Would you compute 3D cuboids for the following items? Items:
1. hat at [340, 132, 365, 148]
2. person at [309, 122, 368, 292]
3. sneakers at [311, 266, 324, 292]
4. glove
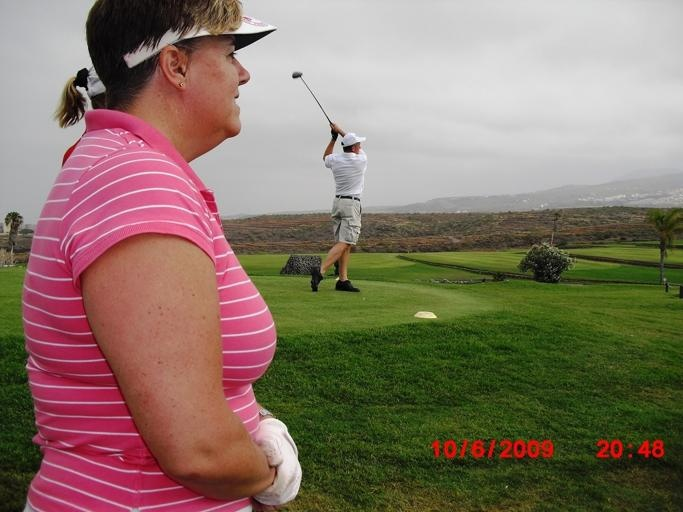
[{"bbox_3d":[0.189,-2.333,8.238,0.367,0.278,0.472,-2,-1,6],"label":"hat"},{"bbox_3d":[-0.021,-1.048,8.417,1.107,3.464,1.171,-2,0,-3],"label":"person"},{"bbox_3d":[-0.477,0.456,8.132,0.247,0.498,0.191,6,2,-2],"label":"sneakers"},{"bbox_3d":[-0.178,0.597,1.201,0.103,0.229,0.186,-2,-15,13],"label":"glove"}]
